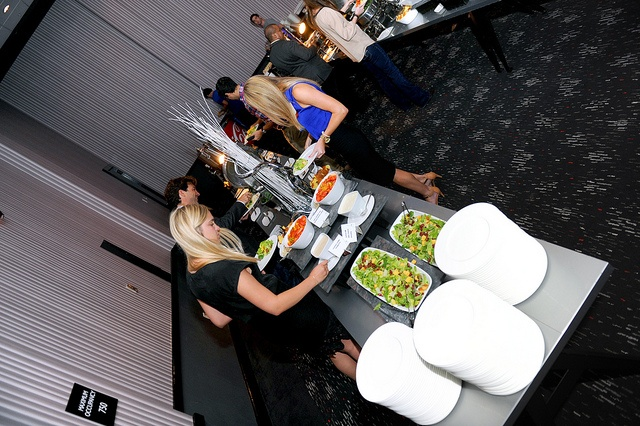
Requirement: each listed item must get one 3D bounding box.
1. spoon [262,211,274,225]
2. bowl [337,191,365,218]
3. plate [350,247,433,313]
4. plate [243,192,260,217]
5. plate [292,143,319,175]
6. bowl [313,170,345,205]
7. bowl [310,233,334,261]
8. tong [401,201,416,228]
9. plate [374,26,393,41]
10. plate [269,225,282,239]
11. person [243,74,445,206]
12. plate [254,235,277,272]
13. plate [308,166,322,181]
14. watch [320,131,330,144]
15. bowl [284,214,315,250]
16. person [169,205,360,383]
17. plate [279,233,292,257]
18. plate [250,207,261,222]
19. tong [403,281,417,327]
[{"bbox_3d":[-0.530,0.055,3.831,0.099,0.034,0.148,19,66,30],"label":"spoon"},{"bbox_3d":[0.241,-0.071,2.815,0.215,0.139,0.158,13,76,63],"label":"bowl"},{"bbox_3d":[0.518,0.459,2.532,0.500,0.154,0.318,27,91,46],"label":"plate"},{"bbox_3d":[-0.712,-0.097,3.867,0.097,0.060,0.423,41,128,16],"label":"plate"},{"bbox_3d":[-0.101,-0.468,3.232,0.151,0.048,0.354,8,66,40],"label":"plate"},{"bbox_3d":[0.083,-0.167,2.955,0.313,0.141,0.180,-45,29,-1],"label":"bowl"},{"bbox_3d":[0.030,0.255,2.757,0.143,0.130,0.203,-44,30,51],"label":"bowl"},{"bbox_3d":[0.669,0.012,2.644,0.086,0.023,0.146,-45,49,45],"label":"tong"},{"bbox_3d":[0.697,-1.879,3.774,0.153,0.032,0.118,-14,60,50],"label":"plate"},{"bbox_3d":[-0.420,0.191,3.588,0.091,0.043,0.134,37,102,45],"label":"plate"},{"bbox_3d":[0.256,-0.639,3.342,0.993,1.953,0.398,-27,33,25],"label":"person"},{"bbox_3d":[-0.496,0.382,3.479,0.281,0.047,0.288,-52,31,22],"label":"plate"},{"bbox_3d":[-0.029,-0.386,3.384,0.098,0.023,0.138,30,82,41],"label":"plate"},{"bbox_3d":[0.060,-0.695,3.261,0.059,0.087,0.099,-43,54,-6],"label":"watch"},{"bbox_3d":[-0.138,0.180,2.981,0.268,0.141,0.267,-43,30,32],"label":"bowl"},{"bbox_3d":[-0.415,0.695,2.958,1.141,1.921,0.707,-30,43,41],"label":"person"},{"bbox_3d":[-0.305,0.294,3.161,0.172,0.042,0.185,29,113,61],"label":"plate"},{"bbox_3d":[-0.687,0.018,3.892,0.083,0.036,0.158,40,104,30],"label":"plate"},{"bbox_3d":[0.591,0.615,2.348,0.124,0.035,0.210,-2,92,23],"label":"tong"}]
